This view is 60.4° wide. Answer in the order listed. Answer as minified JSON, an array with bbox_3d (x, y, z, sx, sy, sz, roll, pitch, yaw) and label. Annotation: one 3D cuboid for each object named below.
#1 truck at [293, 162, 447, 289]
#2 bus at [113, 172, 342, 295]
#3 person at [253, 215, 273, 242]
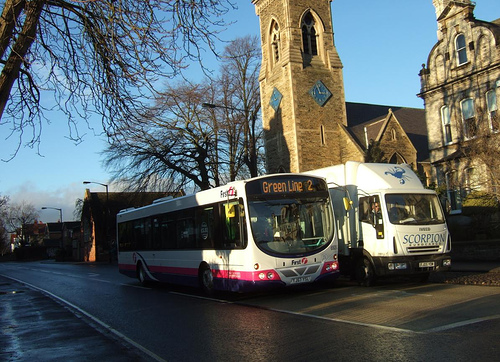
[{"bbox_3d":[4.415,1.872,17.364,2.861,4.455,8.256,0,-9,-15],"label":"truck"},{"bbox_3d":[-1.514,2.284,17.027,3.332,3.089,10.519,3,-11,-33],"label":"bus"},{"bbox_3d":[0.357,1.410,12.702,0.511,0.750,0.171,6,-12,-16],"label":"person"}]
